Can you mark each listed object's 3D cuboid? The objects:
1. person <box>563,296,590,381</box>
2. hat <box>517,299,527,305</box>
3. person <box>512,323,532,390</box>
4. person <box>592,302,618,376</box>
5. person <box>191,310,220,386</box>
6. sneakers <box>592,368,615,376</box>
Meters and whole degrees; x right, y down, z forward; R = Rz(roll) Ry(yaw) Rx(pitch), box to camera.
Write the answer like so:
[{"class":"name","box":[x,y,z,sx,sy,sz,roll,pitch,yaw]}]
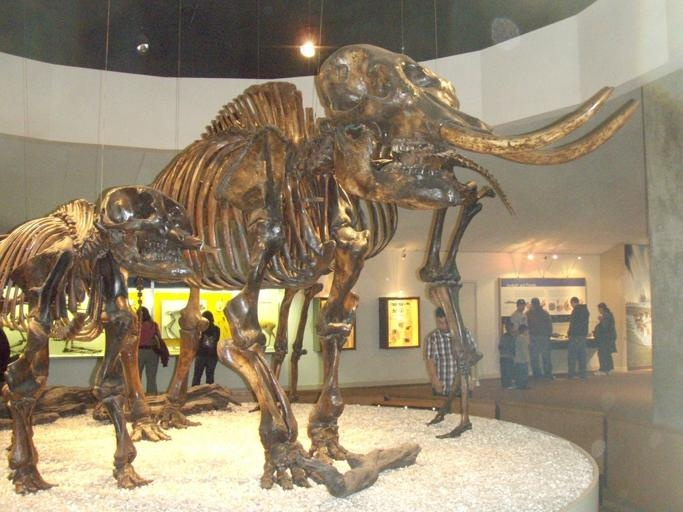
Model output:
[{"class":"person","box":[3.970,1.409,10.998,0.324,1.207,0.707,1,0,21]},{"class":"hat","box":[3.117,0.759,11.363,0.132,0.078,0.179,1,-8,5]},{"class":"person","box":[2.976,1.639,10.843,0.257,1.002,0.460,1,0,16]},{"class":"person","box":[4.076,1.295,10.134,0.301,0.954,0.721,1,0,18]},{"class":"person","box":[-1.869,1.273,9.127,0.338,1.058,1.030,1,0,-12]},{"class":"sneakers","box":[4.010,1.741,9.998,0.070,0.092,0.209,2,-2,-24]}]
